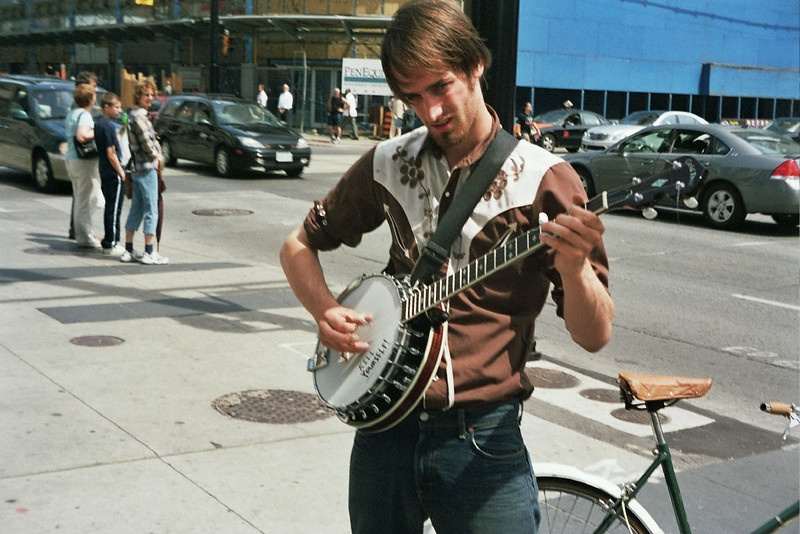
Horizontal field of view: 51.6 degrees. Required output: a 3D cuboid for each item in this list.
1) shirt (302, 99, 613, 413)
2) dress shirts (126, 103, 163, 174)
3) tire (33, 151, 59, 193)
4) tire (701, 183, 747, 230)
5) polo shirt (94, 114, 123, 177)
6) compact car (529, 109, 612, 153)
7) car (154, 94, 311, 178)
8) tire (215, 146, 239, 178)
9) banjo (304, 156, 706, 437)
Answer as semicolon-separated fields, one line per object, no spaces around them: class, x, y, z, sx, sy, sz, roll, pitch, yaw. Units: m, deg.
shirt;0.317;-0.047;4.199;1.643;1.542;0.587;9;28;21
dress shirts;-3.410;-1.710;10.952;0.443;0.853;0.622;-4;15;-14
tire;-7.002;-1.873;16.245;0.851;0.783;0.201;17;20;42
tire;5.816;-1.093;14.738;0.316;1.047;0.900;-3;5;-25
polo shirt;-4.034;-1.744;11.367;0.265;0.759;0.609;-18;31;-36
compact car;7.545;-5.436;33.269;4.511;1.678;2.069;1;11;-13
car;-4.324;-3.011;20.521;4.002;1.694;2.088;16;19;41
tire;-4.109;-2.441;19.539;0.313;0.704;0.831;-7;18;-33
banjo;0.280;0.144;3.820;1.844;0.772;0.247;-30;-46;33
